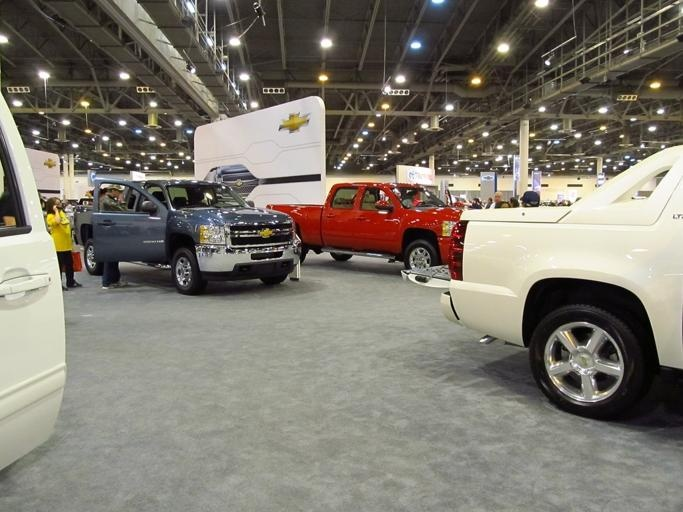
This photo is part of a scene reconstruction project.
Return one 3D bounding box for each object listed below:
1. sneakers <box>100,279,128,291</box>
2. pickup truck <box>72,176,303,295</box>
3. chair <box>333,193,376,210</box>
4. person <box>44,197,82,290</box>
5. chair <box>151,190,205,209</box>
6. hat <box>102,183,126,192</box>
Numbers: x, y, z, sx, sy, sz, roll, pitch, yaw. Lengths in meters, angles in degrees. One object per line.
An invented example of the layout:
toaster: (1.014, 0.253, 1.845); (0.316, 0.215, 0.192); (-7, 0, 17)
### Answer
sneakers: (-5.010, 0.676, 8.957); (0.171, 0.190, 0.462); (-2, -4, 29)
pickup truck: (-3.156, -0.456, 8.587); (4.158, 2.383, 1.510); (2, 7, 16)
chair: (0.353, -1.394, 10.864); (0.825, 0.357, 0.497); (1, 4, 20)
person: (-5.791, -0.214, 8.425); (0.487, 1.964, 1.251); (-5, 9, -33)
chair: (-3.488, -1.275, 8.859); (1.003, 0.402, 0.541); (2, 3, 15)
hat: (-5.257, -1.581, 9.347); (0.477, 0.221, 0.356); (-1, 5, -20)
